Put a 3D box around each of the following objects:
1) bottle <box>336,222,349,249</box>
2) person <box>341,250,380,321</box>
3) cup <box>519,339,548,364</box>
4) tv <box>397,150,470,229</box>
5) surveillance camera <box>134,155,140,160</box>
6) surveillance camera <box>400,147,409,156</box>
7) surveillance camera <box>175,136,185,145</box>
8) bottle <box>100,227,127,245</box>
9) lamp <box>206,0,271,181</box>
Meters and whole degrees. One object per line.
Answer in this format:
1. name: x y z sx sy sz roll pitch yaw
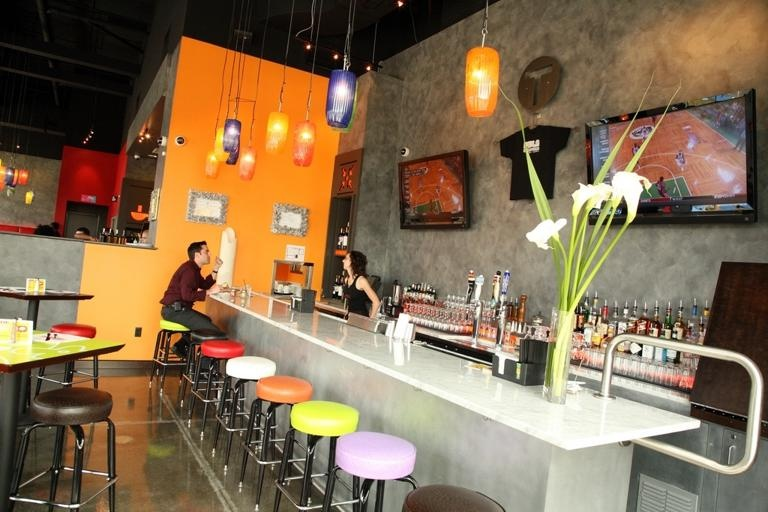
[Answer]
1. bottle: -0.676 -0.313 8.760 0.184 0.432 0.598 1 1 -7
2. person: -0.283 0.364 7.019 0.460 0.844 1.517 1 1 -1
3. cup: 1.109 0.696 4.053 0.183 0.182 0.195 0 2 0
4. tv: 0.676 -0.878 7.460 0.133 1.008 1.375 0 1 -38
5. surveillance camera: -5.913 -2.352 12.830 0.095 0.034 0.139 6 -10 -3
6. surveillance camera: 0.328 -1.606 8.283 0.135 0.141 0.033 6 1 39
7. surveillance camera: -3.050 -1.716 8.018 0.127 0.133 0.072 1 1 -24
8. bottle: -4.835 -0.358 9.618 0.450 0.294 0.459 4 8 -1
9. lamp: -2.050 -2.503 7.506 0.890 2.928 2.030 1 1 -13
